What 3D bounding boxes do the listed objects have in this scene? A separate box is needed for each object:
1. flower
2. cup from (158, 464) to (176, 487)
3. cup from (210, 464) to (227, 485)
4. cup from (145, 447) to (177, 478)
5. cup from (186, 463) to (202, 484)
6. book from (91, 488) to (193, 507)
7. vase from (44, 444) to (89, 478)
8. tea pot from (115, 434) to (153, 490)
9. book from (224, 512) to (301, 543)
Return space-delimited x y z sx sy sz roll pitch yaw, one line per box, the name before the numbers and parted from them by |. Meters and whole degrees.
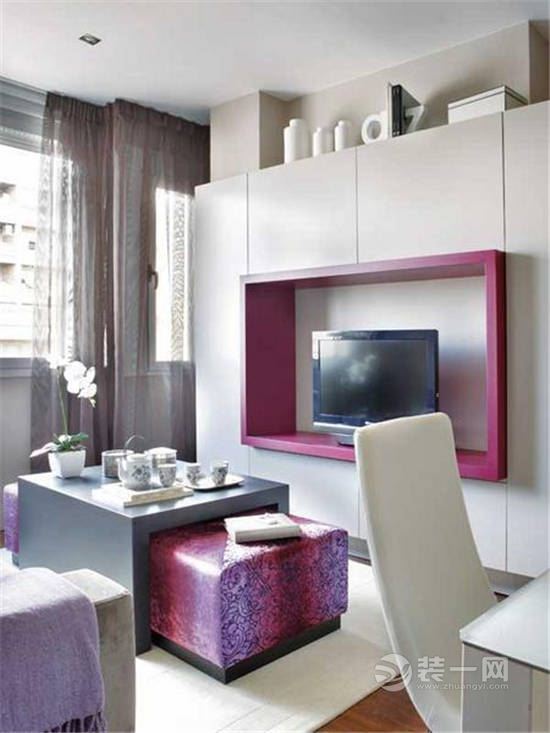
flower | -1.092 0.214 3.176 0.302 0.527 1.119 0 -1 -21
cup | -0.419 0.426 2.258 0.063 0.093 0.070 -3 -6 30
cup | -0.228 0.448 2.383 0.058 0.088 0.067 0 -5 18
cup | -0.495 0.384 2.497 0.100 0.167 0.185 0 0 -27
cup | -0.336 0.446 2.406 0.058 0.081 0.062 2 -1 0
book | -0.495 0.484 2.161 0.382 0.046 0.241 -1 -1 -15
vase | -0.954 0.436 2.652 0.104 0.126 0.132 2 -5 -32
tea pot | -0.552 0.402 2.314 0.105 0.245 0.194 -4 -8 23
book | -0.041 0.564 2.015 0.257 0.061 0.212 -1 -1 -12
